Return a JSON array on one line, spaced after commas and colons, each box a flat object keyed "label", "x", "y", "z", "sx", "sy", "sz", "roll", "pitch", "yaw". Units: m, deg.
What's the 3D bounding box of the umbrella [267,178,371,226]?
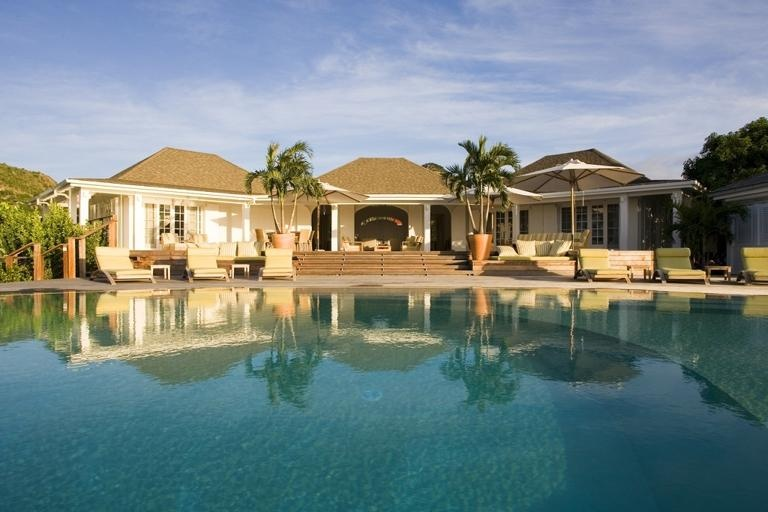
[{"label": "umbrella", "x": -3.360, "y": -2.753, "z": 27.441, "sx": 3.783, "sy": 1.293, "sz": 3.239, "roll": -1, "pitch": -5, "yaw": -6}]

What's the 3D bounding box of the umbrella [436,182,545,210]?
[{"label": "umbrella", "x": 5.076, "y": -2.697, "z": 24.533, "sx": 2.776, "sy": 0.722, "sz": 2.310, "roll": 1, "pitch": 1, "yaw": -17}]
